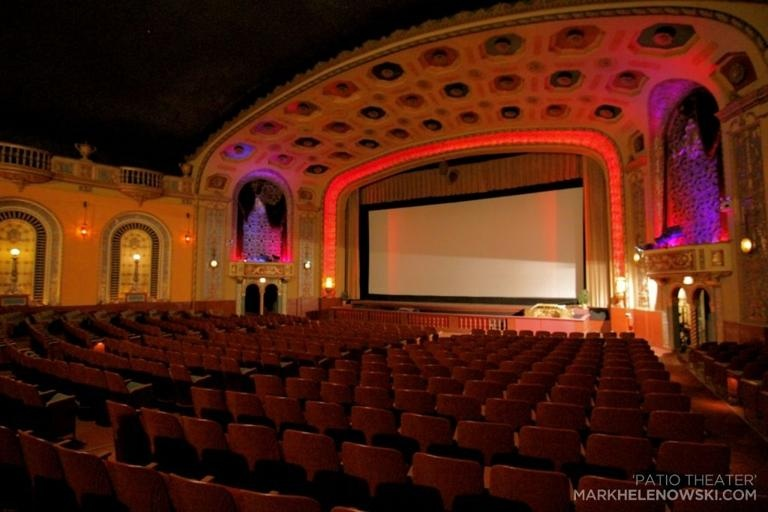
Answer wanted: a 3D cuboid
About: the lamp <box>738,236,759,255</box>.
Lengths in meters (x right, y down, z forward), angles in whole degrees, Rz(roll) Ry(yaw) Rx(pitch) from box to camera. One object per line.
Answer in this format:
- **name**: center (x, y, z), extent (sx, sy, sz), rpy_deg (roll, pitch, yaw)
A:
- **lamp**: center (9.608, -0.292, 14.270), extent (0.250, 0.441, 0.448), rpy_deg (1, -4, -3)
